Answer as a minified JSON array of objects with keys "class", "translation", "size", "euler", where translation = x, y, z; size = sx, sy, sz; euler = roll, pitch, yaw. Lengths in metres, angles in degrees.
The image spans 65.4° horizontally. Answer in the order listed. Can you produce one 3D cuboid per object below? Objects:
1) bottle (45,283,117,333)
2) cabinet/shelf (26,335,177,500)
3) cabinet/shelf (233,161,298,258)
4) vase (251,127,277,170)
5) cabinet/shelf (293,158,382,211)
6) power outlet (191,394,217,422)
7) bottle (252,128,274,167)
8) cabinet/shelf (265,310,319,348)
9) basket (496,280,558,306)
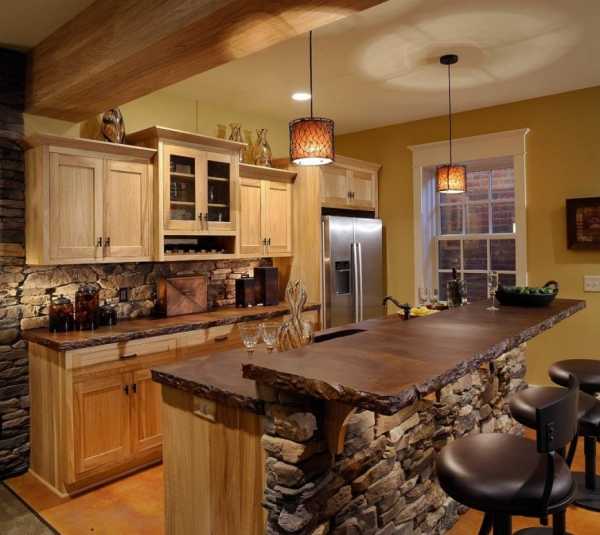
[{"class":"bottle","translation":[-1.523,0.279,3.266],"size":[0.376,0.236,0.348],"euler":[1,-3,0]},{"class":"cabinet/shelf","translation":[-1.579,1.020,3.445],"size":[0.804,1.104,1.295],"euler":[-7,-14,9]},{"class":"cabinet/shelf","translation":[-0.356,-0.546,4.442],"size":[0.314,0.925,1.020],"euler":[-5,-7,34]},{"class":"vase","translation":[-0.412,-1.194,4.710],"size":[0.253,0.352,0.229],"euler":[0,11,-27]},{"class":"cabinet/shelf","translation":[0.429,-0.834,5.100],"size":[0.342,0.611,1.134],"euler":[1,4,39]},{"class":"power outlet","translation":[-0.401,0.586,1.956],"size":[0.183,0.115,0.025],"euler":[-1,-2,42]},{"class":"bottle","translation":[-0.421,-1.202,4.713],"size":[0.248,0.361,0.233],"euler":[4,11,-1]},{"class":"cabinet/shelf","translation":[-0.025,0.261,2.067],"size":[0.200,0.243,0.172],"euler":[1,11,5]},{"class":"basket","translation":[1.486,0.175,3.051],"size":[0.429,0.159,0.286],"euler":[1,6,1]}]
